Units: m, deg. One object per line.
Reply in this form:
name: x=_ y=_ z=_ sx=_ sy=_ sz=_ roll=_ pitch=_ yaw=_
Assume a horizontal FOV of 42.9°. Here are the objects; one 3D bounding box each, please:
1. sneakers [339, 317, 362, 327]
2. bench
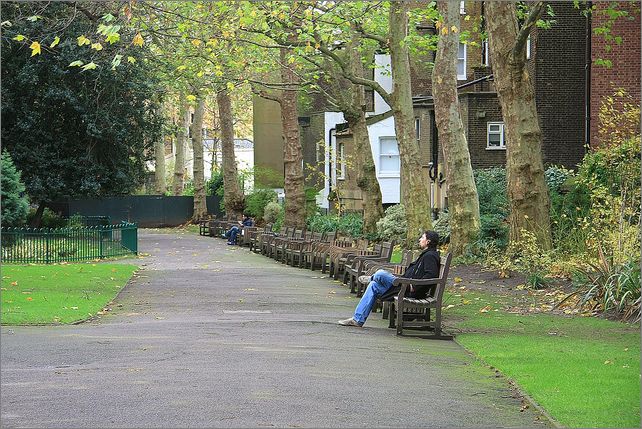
sneakers: x=0.706 y=2.490 z=18.947 sx=0.546 sy=0.216 sz=0.207 roll=5 pitch=-4 yaw=2
bench: x=2.369 y=2.048 z=19.946 sx=1.339 sy=1.714 sz=3.038 roll=2 pitch=-4 yaw=5
